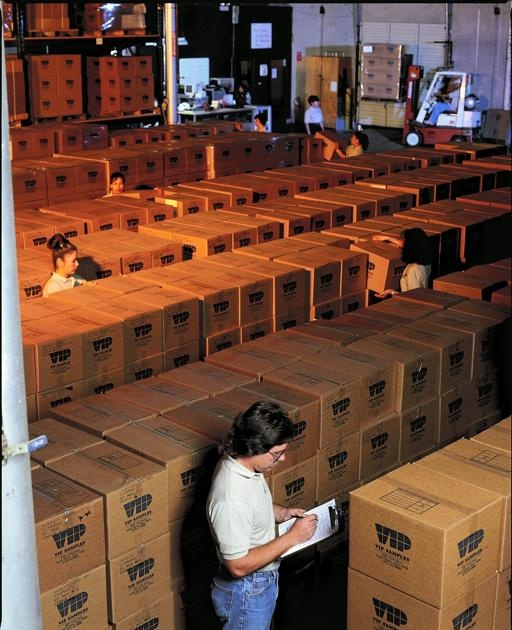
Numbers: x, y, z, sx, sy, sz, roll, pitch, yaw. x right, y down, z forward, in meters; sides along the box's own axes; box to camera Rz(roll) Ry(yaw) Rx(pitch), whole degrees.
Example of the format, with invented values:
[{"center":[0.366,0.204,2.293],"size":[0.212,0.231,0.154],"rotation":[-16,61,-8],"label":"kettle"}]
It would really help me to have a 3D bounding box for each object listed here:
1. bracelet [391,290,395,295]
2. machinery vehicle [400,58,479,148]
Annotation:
[{"center":[1.281,-0.214,5.425],"size":[0.053,0.012,0.047],"rotation":[-1,44,-20],"label":"bracelet"},{"center":[6.684,-7.503,20.826],"size":[2.588,2.513,1.695],"rotation":[10,33,23],"label":"machinery vehicle"}]
